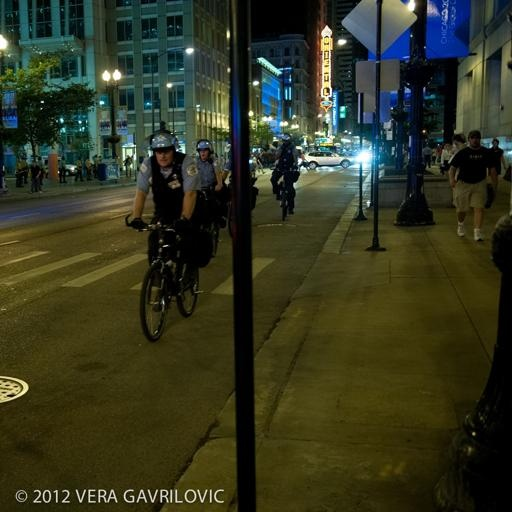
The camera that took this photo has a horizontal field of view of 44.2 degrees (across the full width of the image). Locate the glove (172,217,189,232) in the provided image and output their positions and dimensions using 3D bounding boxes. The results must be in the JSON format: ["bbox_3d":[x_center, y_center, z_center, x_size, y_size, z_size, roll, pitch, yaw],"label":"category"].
[{"bbox_3d":[-0.708,-0.310,6.149,0.182,0.150,0.129,-8,13,-33],"label":"glove"}]

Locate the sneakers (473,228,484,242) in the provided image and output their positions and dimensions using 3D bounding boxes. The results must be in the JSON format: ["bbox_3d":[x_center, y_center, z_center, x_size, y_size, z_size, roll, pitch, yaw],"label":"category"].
[{"bbox_3d":[4.168,-0.405,11.813,0.111,0.249,0.345,-2,2,11],"label":"sneakers"}]

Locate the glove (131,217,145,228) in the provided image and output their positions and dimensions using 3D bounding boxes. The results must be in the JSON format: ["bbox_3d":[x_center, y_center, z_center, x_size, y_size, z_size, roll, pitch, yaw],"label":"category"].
[{"bbox_3d":[-1.133,-0.313,6.048,0.094,0.111,0.095,13,-19,-23],"label":"glove"}]

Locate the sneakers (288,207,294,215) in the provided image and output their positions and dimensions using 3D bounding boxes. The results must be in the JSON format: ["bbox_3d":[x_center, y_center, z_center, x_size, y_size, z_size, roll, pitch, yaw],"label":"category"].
[{"bbox_3d":[0.952,-1.262,17.344,0.165,0.275,0.566,-1,2,6],"label":"sneakers"}]

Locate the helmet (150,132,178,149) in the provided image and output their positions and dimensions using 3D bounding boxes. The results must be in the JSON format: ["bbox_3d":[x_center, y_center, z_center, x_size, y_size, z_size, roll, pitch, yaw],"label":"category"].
[{"bbox_3d":[-0.904,-1.128,6.160,0.261,0.175,0.313,-3,12,-11],"label":"helmet"}]

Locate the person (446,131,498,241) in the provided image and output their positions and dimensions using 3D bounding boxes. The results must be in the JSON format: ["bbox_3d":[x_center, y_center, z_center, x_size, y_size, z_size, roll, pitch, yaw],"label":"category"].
[{"bbox_3d":[4.027,-1.306,11.729,0.818,2.035,0.988,3,10,22],"label":"person"}]

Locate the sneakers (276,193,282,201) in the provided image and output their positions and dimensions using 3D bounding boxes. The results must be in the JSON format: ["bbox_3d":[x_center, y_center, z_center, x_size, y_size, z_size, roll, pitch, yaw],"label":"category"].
[{"bbox_3d":[0.599,-1.582,16.638,0.144,0.256,0.054,1,0,7],"label":"sneakers"}]

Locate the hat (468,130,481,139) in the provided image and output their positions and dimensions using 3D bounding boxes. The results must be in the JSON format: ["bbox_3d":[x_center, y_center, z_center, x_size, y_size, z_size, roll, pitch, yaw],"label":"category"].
[{"bbox_3d":[3.918,-2.185,11.318,0.211,0.189,0.317,4,3,25],"label":"hat"}]
